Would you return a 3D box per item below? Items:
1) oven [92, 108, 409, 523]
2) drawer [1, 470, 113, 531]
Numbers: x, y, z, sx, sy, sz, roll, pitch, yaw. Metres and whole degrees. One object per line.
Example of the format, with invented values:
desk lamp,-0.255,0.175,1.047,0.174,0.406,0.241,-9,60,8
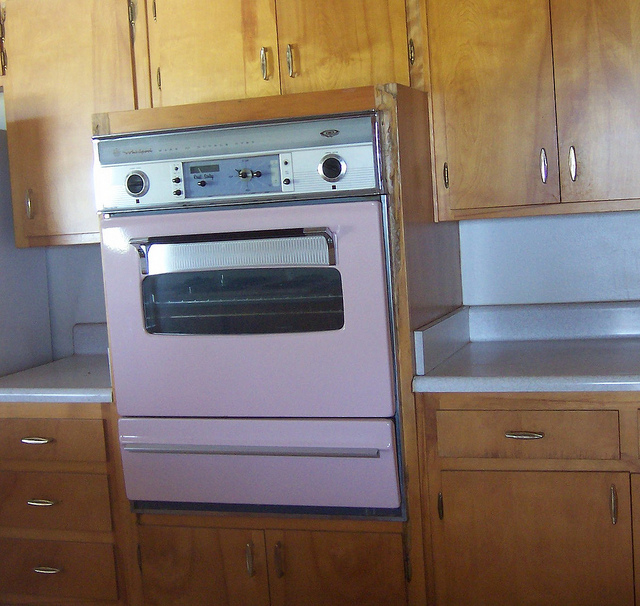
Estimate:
oven,-0.115,0.026,2.253,0.895,1.151,0.799,-3,2,15
drawer,-0.824,0.614,2.120,0.345,0.151,0.199,0,-7,8
